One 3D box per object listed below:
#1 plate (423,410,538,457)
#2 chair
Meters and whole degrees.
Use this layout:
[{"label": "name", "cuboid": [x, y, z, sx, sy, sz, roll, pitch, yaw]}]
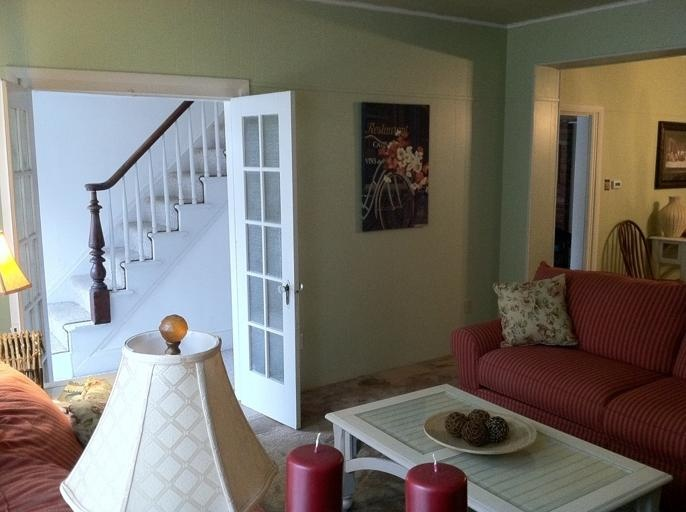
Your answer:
[{"label": "plate", "cuboid": [0.643, 0.846, 2.625, 0.375, 0.059, 0.380, -5, 15, -22]}, {"label": "chair", "cuboid": [3.540, -0.100, 6.508, 0.486, 0.853, 0.599, -9, 14, -15]}]
